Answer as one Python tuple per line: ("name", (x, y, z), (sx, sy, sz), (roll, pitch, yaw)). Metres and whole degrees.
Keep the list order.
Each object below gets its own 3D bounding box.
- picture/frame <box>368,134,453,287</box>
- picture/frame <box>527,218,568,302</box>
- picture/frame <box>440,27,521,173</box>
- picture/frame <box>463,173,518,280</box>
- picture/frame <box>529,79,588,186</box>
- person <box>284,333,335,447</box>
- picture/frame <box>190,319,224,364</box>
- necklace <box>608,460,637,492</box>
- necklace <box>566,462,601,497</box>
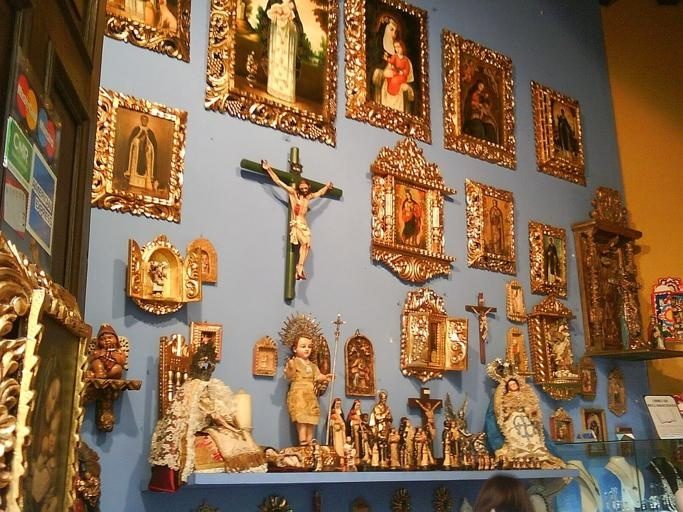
("picture/frame", (0.576, -0.351, 6.307), (0.950, 1.748, 0.185), (11, -18, -38))
("picture/frame", (2.036, 0.074, 7.181), (0.600, 0.910, 0.085), (12, -19, -35))
("picture/frame", (1.329, -1.475, 7.074), (1.135, 1.456, 0.101), (16, -24, -38))
("picture/frame", (1.384, -0.241, 6.809), (0.740, 1.001, 0.095), (13, -22, -36))
("picture/frame", (2.277, -1.266, 7.642), (0.863, 1.101, 0.097), (20, -30, -37))
("person", (-0.253, 0.984, 5.269), (0.359, 0.790, 0.207), (6, -15, -12))
("picture/frame", (-0.958, 0.609, 5.047), (0.240, 0.302, 0.044), (12, -17, -39))
("necklace", (2.206, 1.656, 5.611), (0.265, 0.299, 0.156), (14, -10, -34))
("necklace", (2.023, 1.835, 6.084), (0.167, 0.359, 0.270), (-10, -7, -7))
